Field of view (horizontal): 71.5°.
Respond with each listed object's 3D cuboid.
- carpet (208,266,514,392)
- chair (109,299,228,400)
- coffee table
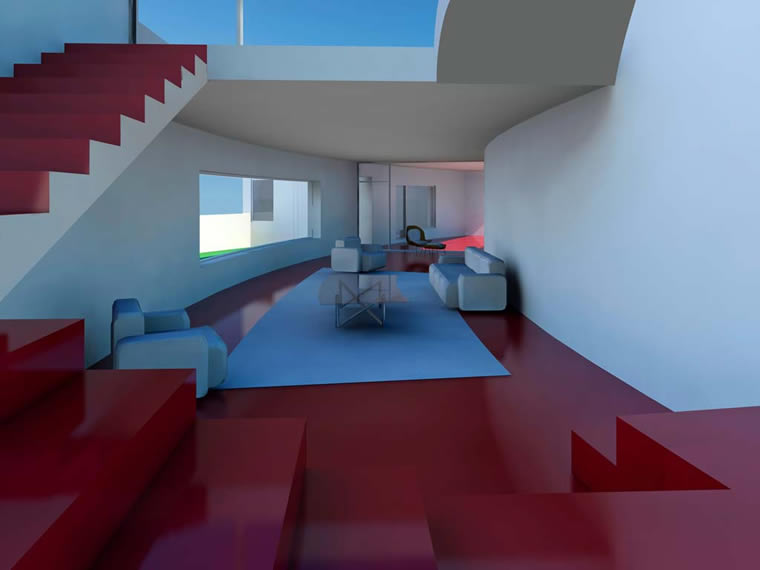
[{"bbox_3d":[-0.263,0.590,6.777,2.979,0.101,3.551,-1,11,-6],"label":"carpet"},{"bbox_3d":[-2.074,0.600,5.060,1.086,0.900,1.262,-2,8,-26],"label":"chair"},{"bbox_3d":[-0.295,0.336,7.193,0.860,0.392,0.798,2,24,-2],"label":"coffee table"}]
